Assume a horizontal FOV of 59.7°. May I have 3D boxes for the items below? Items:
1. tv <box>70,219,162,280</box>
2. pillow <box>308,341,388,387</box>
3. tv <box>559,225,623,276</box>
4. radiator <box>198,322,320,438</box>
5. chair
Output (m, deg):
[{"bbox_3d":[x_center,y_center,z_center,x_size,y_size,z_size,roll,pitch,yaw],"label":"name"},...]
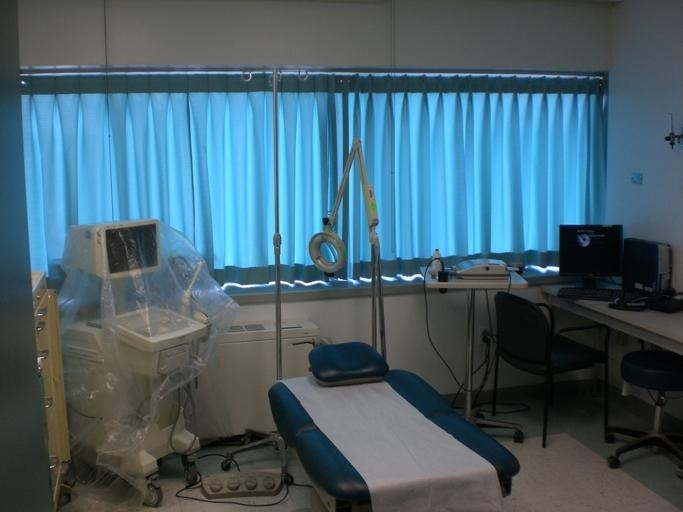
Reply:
[{"bbox_3d":[-1.352,-0.087,3.474,0.357,0.264,0.364,6,5,39],"label":"tv"},{"bbox_3d":[0.032,0.625,3.423,0.267,0.093,0.273,-4,8,-27],"label":"pillow"},{"bbox_3d":[1.903,-0.046,4.494,0.328,0.327,0.048,1,3,11],"label":"tv"},{"bbox_3d":[-0.616,0.810,4.140,0.773,0.733,0.296,-4,19,-4],"label":"radiator"},{"bbox_3d":[1.471,0.812,4.231,0.598,1.138,0.762,-6,9,-20],"label":"chair"}]
